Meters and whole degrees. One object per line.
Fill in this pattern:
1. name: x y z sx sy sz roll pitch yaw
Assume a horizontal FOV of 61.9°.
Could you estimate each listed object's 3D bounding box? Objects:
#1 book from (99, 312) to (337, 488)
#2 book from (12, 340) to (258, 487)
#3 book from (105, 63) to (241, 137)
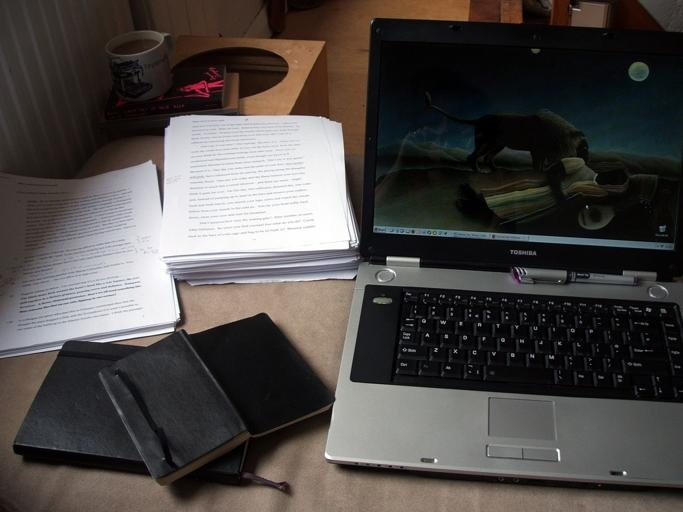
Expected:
1. book: -0.142 0.145 0.644 0.187 0.053 0.180 -18 48 -26
2. book: -0.283 0.169 0.668 0.154 0.031 0.143 6 47 4
3. book: -0.318 -0.291 1.064 0.157 0.042 0.183 2 48 5
